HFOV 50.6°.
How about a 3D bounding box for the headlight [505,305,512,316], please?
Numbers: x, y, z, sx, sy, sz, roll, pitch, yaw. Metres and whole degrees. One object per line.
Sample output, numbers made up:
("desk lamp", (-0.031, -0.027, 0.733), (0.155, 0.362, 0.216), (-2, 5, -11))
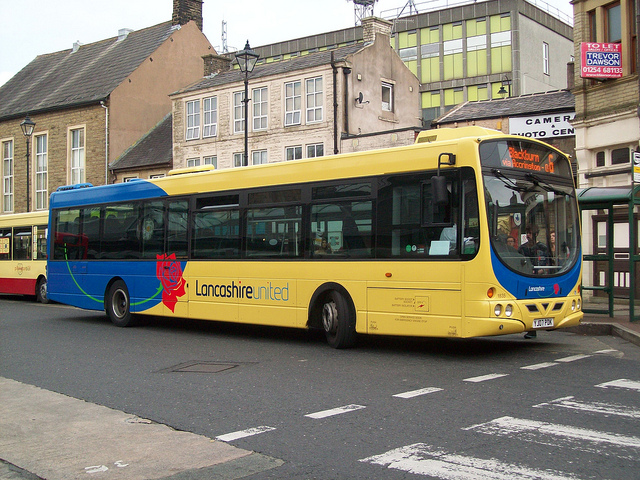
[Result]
("headlight", (3.210, 1.199, 11.536), (0.119, 0.154, 0.146), (5, 11, 2))

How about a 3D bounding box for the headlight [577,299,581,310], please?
("headlight", (4.852, 1.191, 12.709), (0.033, 0.147, 0.140), (5, 4, 8))

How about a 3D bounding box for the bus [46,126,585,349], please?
("bus", (-1.504, 0.138, 16.559), (14.844, 4.026, 3.279), (-1, 1, 40))

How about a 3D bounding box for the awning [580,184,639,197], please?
("awning", (6.936, -1.165, 16.430), (1.146, 0.249, 1.049), (-1, 1, 29))
